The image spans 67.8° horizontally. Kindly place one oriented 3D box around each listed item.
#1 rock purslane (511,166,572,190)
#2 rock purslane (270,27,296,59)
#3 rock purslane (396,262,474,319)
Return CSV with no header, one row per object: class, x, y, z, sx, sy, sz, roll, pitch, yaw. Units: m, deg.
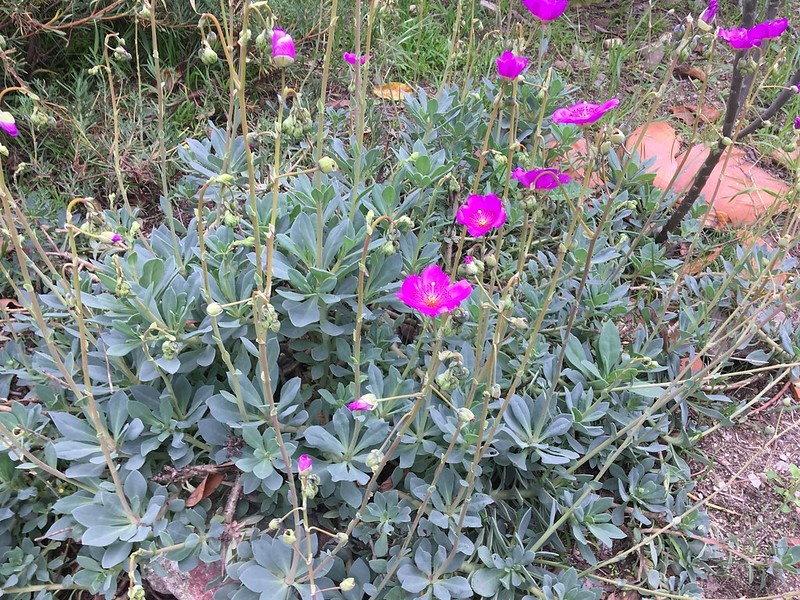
rock purslane,0.498,-0.422,2.082,0.155,0.153,0.078,0,84,8
rock purslane,-0.359,-0.794,1.826,0.070,0.069,0.172,0,45,-13
rock purslane,0.108,-0.023,2.120,0.296,0.275,0.139,14,72,-29
